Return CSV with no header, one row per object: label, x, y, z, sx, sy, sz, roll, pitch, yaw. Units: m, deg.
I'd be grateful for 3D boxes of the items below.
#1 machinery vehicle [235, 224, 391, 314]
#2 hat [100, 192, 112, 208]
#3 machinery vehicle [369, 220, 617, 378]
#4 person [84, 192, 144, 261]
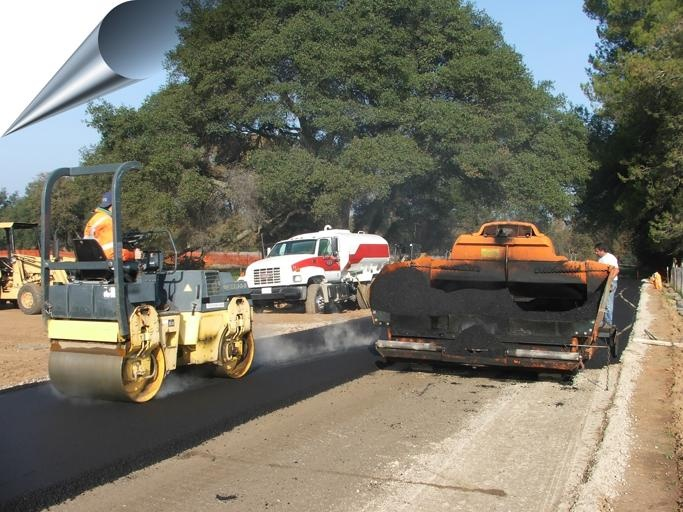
machinery vehicle,-0.801,0.462,21.009,2.609,2.758,5.000,-6,-7,29
hat,-3.430,-0.818,8.494,0.233,0.215,0.329,1,7,-26
machinery vehicle,2.835,0.657,10.910,3.961,2.661,3.567,1,3,23
person,-3.349,-0.412,8.659,0.677,1.025,0.728,-3,0,8
